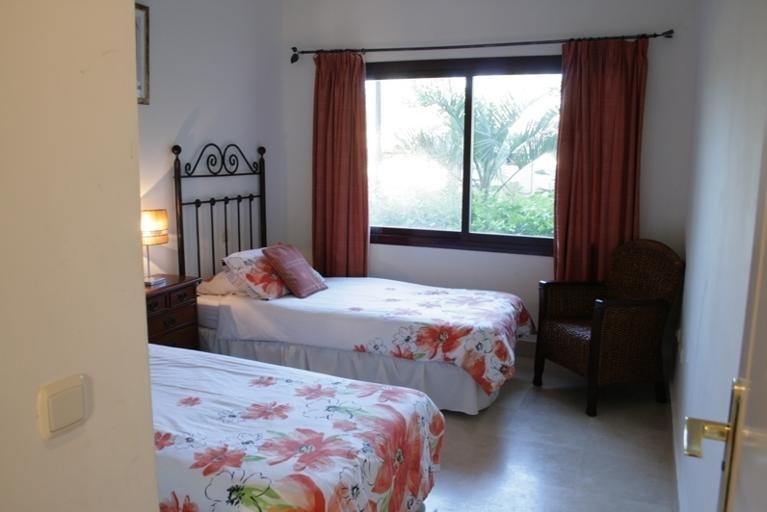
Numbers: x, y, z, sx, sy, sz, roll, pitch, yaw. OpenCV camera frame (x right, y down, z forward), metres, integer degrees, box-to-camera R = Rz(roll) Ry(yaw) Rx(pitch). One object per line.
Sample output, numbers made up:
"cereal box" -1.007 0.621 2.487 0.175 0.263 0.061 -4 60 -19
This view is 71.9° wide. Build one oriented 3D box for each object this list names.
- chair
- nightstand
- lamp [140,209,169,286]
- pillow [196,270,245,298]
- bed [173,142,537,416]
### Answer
"chair" 1.685 0.489 4.004 0.934 1.153 0.837 -7 15 -27
"nightstand" -1.465 0.394 3.681 0.343 0.519 0.515 1 6 17
"lamp" -1.652 -0.077 3.857 0.192 0.520 0.465 -7 15 -24
"pillow" -1.319 0.242 4.227 0.254 0.235 0.079 -17 -28 3
"bed" -0.252 0.079 4.323 2.677 1.789 1.393 3 8 25
